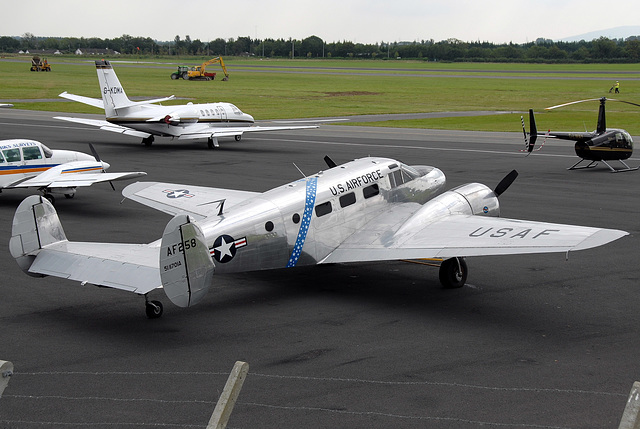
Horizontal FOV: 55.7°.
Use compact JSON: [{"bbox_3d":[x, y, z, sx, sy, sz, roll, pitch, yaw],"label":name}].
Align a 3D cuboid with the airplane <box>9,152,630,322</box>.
[{"bbox_3d":[-0.604,0.304,19.272,15.555,3.779,9.806,-3,14,-5],"label":"airplane"}]
